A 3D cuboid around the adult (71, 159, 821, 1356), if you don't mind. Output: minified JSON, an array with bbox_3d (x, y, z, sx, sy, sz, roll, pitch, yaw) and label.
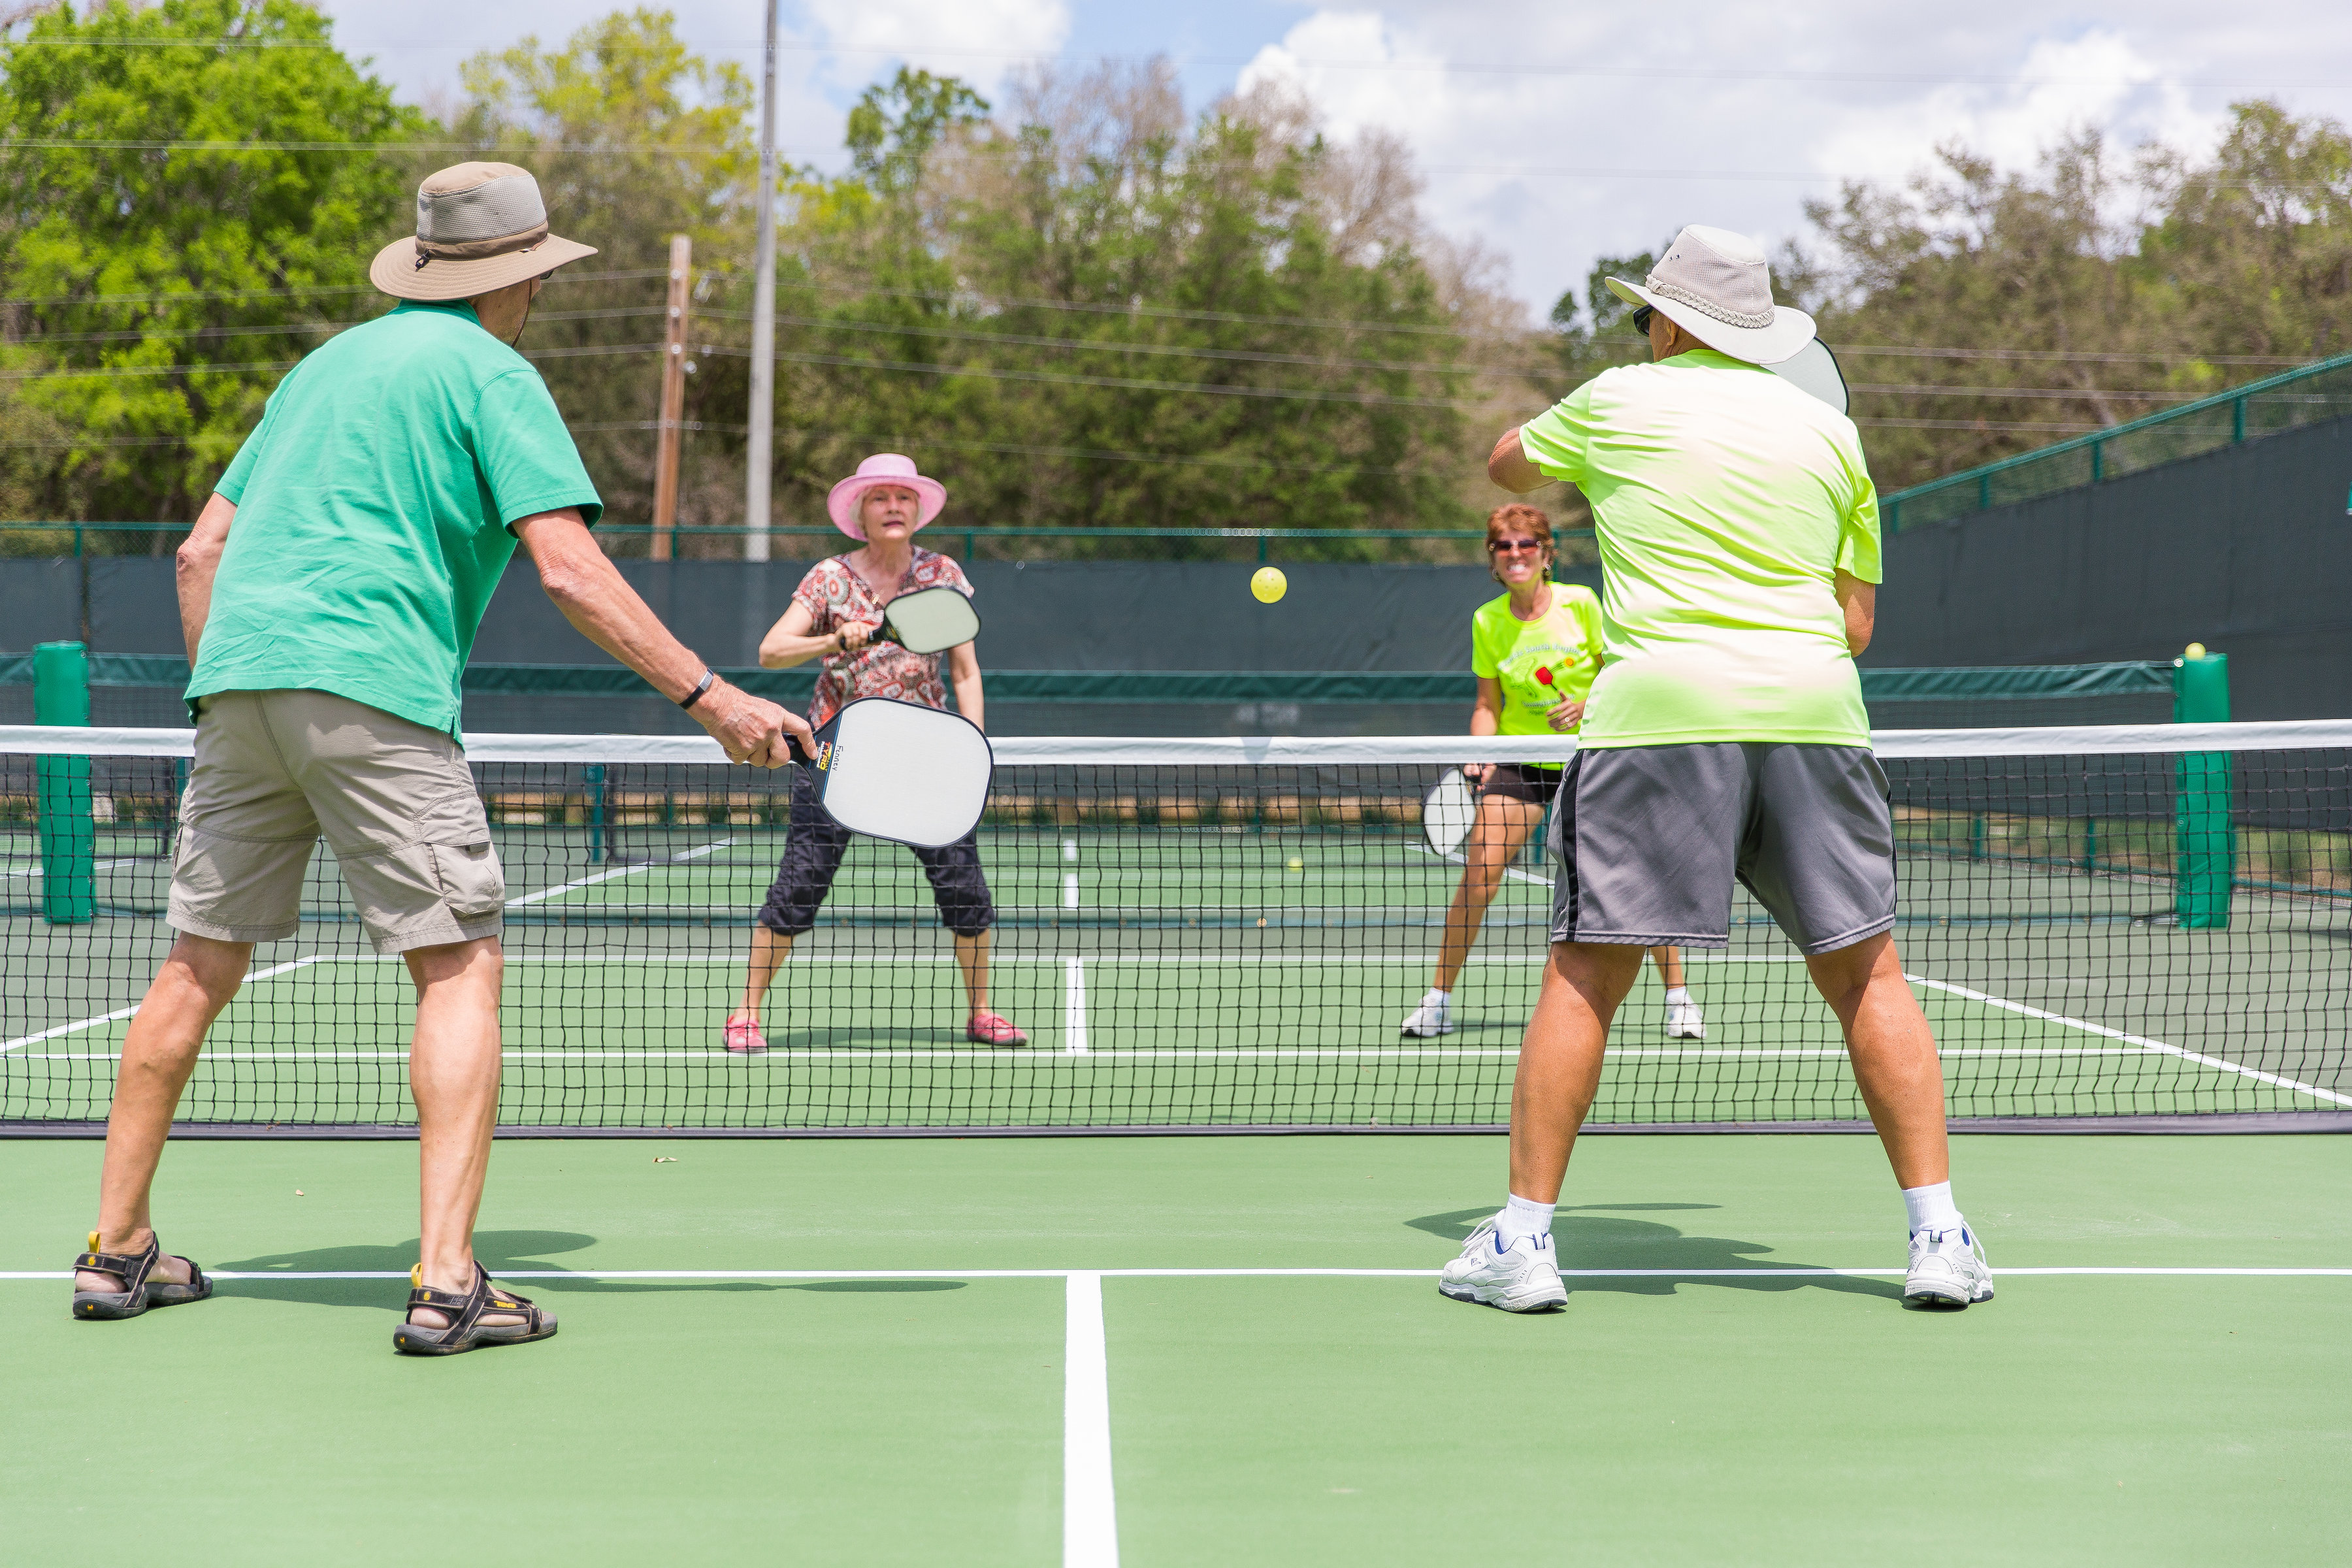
[{"bbox_3d":[-2.188,-0.095,8.716,1.971,3.384,1.275,1,-2,9],"label":"adult"}]

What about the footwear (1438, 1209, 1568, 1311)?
[{"bbox_3d":[0.971,1.421,8.787,0.227,0.264,0.545,0,-2,-26],"label":"footwear"}]

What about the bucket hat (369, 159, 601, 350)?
[{"bbox_3d":[-2.037,-1.659,8.667,0.933,0.396,0.930,-6,15,-18],"label":"bucket hat"}]

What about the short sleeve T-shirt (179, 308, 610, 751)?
[{"bbox_3d":[-2.292,-0.744,8.392,1.104,1.151,0.424,-3,12,-13],"label":"short sleeve T-shirt"}]

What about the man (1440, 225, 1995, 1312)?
[{"bbox_3d":[1.657,-0.017,9.070,1.619,3.234,1.258,4,-9,-4],"label":"man"}]

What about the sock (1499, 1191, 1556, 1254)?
[{"bbox_3d":[1.030,1.280,8.615,0.092,0.172,0.255,4,1,-5],"label":"sock"}]

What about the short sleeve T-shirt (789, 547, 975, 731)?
[{"bbox_3d":[-1.134,-0.543,11.403,0.719,0.694,0.412,-6,18,-26],"label":"short sleeve T-shirt"}]

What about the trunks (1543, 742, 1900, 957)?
[{"bbox_3d":[1.672,0.188,8.722,1.160,0.658,0.397,-1,-4,-21],"label":"trunks"}]

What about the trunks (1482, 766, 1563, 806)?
[{"bbox_3d":[1.392,-0.008,11.653,0.217,0.210,0.078,5,-8,7],"label":"trunks"}]

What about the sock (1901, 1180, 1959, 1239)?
[{"bbox_3d":[2.253,1.251,8.620,0.118,0.192,0.198,-8,-2,28],"label":"sock"}]

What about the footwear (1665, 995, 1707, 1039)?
[{"bbox_3d":[2.070,0.948,11.881,0.128,0.055,0.182,1,24,1],"label":"footwear"}]

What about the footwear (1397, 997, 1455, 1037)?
[{"bbox_3d":[1.048,0.963,12.094,0.107,0.138,0.298,-3,-11,25],"label":"footwear"}]

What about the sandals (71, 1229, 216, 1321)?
[{"bbox_3d":[-3.052,1.450,8.734,0.169,0.223,0.484,1,3,33],"label":"sandals"}]

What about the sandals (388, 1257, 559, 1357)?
[{"bbox_3d":[-2.008,1.514,8.500,0.553,0.253,0.182,0,-2,-40],"label":"sandals"}]

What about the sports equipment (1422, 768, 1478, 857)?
[{"bbox_3d":[1.102,0.112,11.810,0.226,0.328,0.076,14,1,-8],"label":"sports equipment"}]

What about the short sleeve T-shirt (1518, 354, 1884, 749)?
[{"bbox_3d":[1.661,-0.571,8.882,1.055,1.406,0.852,6,-21,-10],"label":"short sleeve T-shirt"}]

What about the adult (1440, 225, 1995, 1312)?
[{"bbox_3d":[1.652,-0.047,9.061,1.691,3.289,1.258,3,-8,-1],"label":"adult"}]

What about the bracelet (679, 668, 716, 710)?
[{"bbox_3d":[-1.399,-0.254,8.394,0.113,0.036,0.119,-38,13,37],"label":"bracelet"}]

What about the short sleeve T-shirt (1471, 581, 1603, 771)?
[{"bbox_3d":[1.497,-0.496,11.926,0.576,0.569,0.328,-7,22,5],"label":"short sleeve T-shirt"}]

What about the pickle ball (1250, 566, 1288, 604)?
[{"bbox_3d":[0.677,-1.419,20.980,0.251,0.264,0.225,0,12,0],"label":"pickle ball"}]

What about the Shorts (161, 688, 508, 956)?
[{"bbox_3d":[-2.481,0.066,8.583,1.146,0.807,0.532,3,8,24],"label":"Shorts"}]

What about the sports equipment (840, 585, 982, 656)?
[{"bbox_3d":[-0.975,-0.600,10.745,0.432,0.212,0.082,-18,18,-11],"label":"sports equipment"}]
